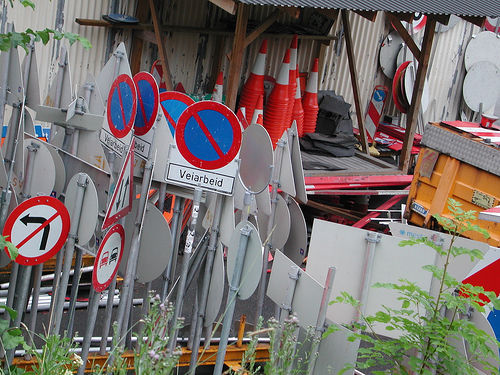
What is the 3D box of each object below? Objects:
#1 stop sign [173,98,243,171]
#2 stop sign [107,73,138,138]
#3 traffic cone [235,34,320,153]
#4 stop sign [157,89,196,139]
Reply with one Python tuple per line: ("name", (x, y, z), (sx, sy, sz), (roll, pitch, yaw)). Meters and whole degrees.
("stop sign", (-0.329, -0.428, 5.156), (0.546, 0.723, 0.021), (14, -38, 3))
("stop sign", (-1.100, -0.704, 5.476), (0.418, 0.571, 0.011), (-8, -11, 42))
("traffic cone", (0.704, -1.511, 10.455), (0.369, 1.276, 1.041), (2, -5, 45))
("stop sign", (-0.631, -0.615, 5.457), (0.323, 0.454, 0.051), (-1, -6, -9))
